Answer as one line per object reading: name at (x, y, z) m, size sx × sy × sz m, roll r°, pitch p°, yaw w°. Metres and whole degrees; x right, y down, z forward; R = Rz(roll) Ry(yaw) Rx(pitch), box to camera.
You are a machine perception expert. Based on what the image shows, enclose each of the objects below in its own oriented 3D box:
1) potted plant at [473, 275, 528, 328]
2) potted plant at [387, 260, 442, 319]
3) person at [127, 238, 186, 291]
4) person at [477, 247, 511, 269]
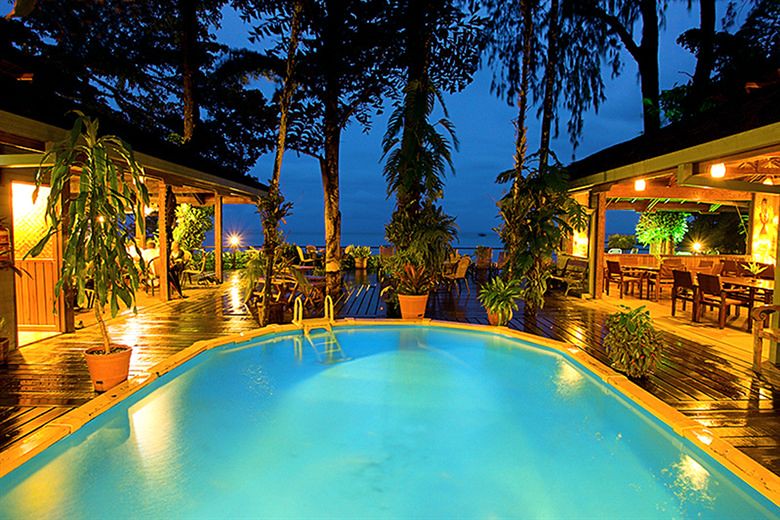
potted plant at (2.558, 0.906, 11.040) m, size 1.046 × 1.008 × 1.081 m, roll 1°, pitch -2°, yaw 0°
potted plant at (0.546, 0.707, 11.801) m, size 1.360 × 1.637 × 1.252 m, roll 1°, pitch -5°, yaw -2°
person at (-5.806, 0.123, 12.057) m, size 1.106 × 1.509 × 1.071 m, roll 1°, pitch 30°, yaw -13°
person at (3.336, -0.084, 16.384) m, size 0.823 × 0.536 × 0.846 m, roll 0°, pitch 4°, yaw 9°
